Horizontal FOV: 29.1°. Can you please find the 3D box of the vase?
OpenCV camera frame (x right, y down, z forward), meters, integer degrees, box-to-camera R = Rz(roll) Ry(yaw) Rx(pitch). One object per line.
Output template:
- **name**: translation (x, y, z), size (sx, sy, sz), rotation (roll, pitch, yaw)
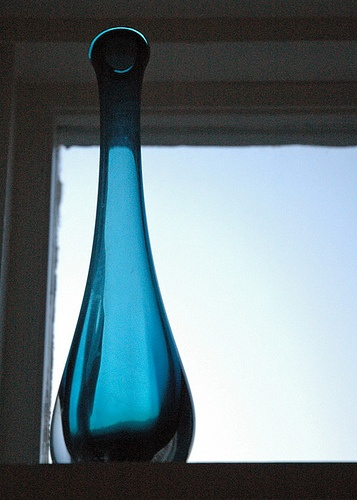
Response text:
- **vase**: translation (-0.037, -0.015, 0.519), size (0.100, 0.336, 0.073), rotation (-1, -6, 15)
